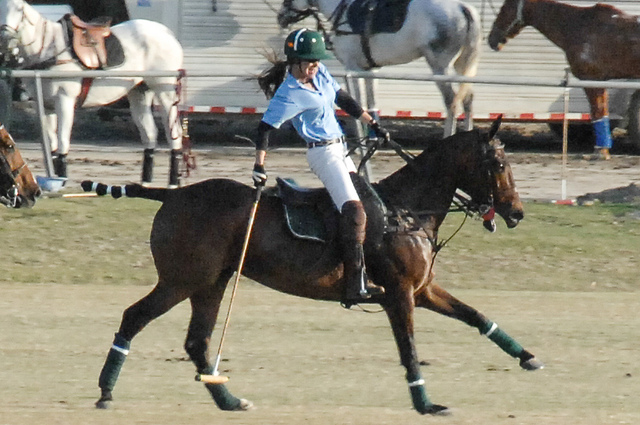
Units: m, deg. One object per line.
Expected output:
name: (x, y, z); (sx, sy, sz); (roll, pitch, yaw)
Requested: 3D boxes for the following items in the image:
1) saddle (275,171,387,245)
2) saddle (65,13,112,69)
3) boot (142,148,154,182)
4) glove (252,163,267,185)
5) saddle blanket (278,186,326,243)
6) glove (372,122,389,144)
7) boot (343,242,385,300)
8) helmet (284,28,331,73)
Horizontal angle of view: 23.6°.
saddle: (0.131, -0.046, 19.845); (1.373, 0.772, 0.878); (-2, 6, -7)
saddle: (-3.901, -2.869, 25.774); (0.702, 0.878, 0.468); (0, 10, -11)
boot: (-2.971, -0.814, 26.315); (0.180, 0.593, 0.153); (0, 10, -10)
glove: (-0.795, -0.509, 19.817); (0.172, 0.267, 0.218); (1, 10, -2)
saddle blanket: (-0.137, 0.041, 19.527); (0.590, 0.534, 0.174); (-2, -22, -13)
glove: (0.819, -1.048, 20.190); (0.191, 0.256, 0.099); (-24, 1, 19)
boot: (0.535, 0.681, 19.814); (0.680, 0.791, 0.303); (1, -2, -31)
helmet: (-0.143, -2.221, 19.931); (0.686, 0.325, 0.507); (11, 17, 19)
